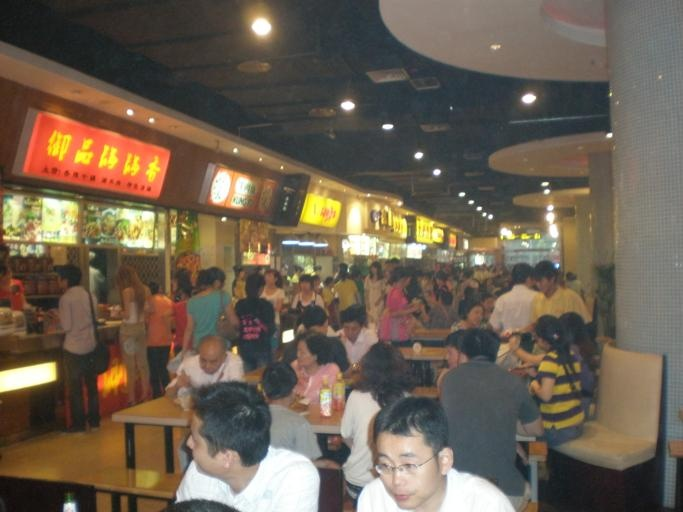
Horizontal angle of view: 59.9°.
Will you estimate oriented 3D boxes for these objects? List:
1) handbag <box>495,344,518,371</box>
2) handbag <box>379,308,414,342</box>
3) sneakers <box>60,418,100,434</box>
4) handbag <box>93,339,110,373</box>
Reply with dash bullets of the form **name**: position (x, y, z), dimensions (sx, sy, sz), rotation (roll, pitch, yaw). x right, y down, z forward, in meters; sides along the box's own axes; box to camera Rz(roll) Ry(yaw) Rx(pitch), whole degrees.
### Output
- **handbag**: position (1.737, 1.041, 6.182), dimensions (0.220, 0.258, 0.473), rotation (0, -4, 17)
- **handbag**: position (0.737, 0.942, 8.148), dimensions (0.425, 0.440, 0.417), rotation (0, -2, 18)
- **sneakers**: position (-3.072, 1.999, 6.985), dimensions (0.407, 0.185, 0.157), rotation (5, -9, -1)
- **handbag**: position (-2.853, 1.215, 7.034), dimensions (0.074, 0.324, 0.220), rotation (0, -2, 33)
